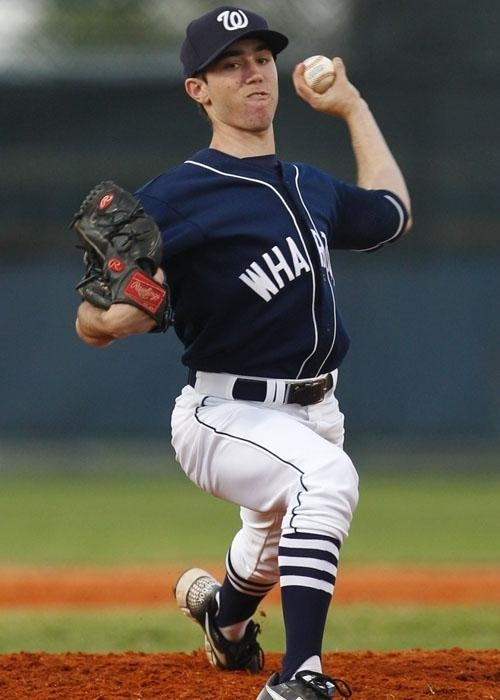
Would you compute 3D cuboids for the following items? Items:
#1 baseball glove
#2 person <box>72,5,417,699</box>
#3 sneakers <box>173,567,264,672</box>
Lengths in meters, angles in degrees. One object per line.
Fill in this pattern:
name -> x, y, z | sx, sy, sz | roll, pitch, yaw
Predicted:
baseball glove -> -0.314, -0.248, 2.345 | 0.243, 0.377, 0.131 | -18, -19, 15
person -> -0.002, -0.010, 2.589 | 0.719, 1.978, 0.963 | -1, -4, 17
sneakers -> -0.082, 0.870, 2.909 | 0.140, 0.406, 0.190 | -44, 22, -28
